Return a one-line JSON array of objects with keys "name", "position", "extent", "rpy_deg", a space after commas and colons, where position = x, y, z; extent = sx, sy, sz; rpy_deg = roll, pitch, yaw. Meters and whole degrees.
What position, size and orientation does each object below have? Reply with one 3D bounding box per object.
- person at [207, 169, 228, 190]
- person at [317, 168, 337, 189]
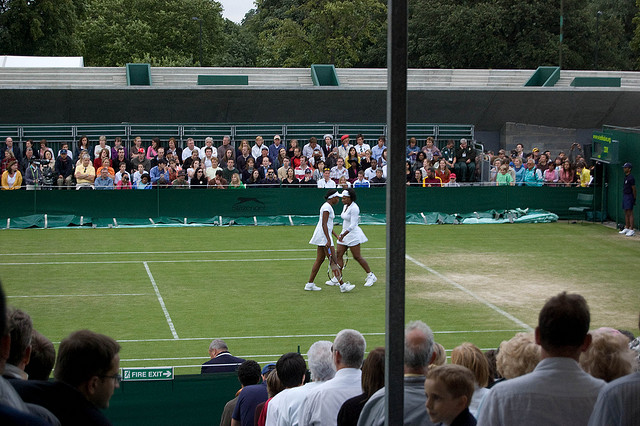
[{"name": "person", "position": [-4.383, -1.430, 46.560], "extent": [0.965, 1.250, 0.741], "rpy_deg": [0, -9, -5]}, {"name": "person", "position": [0.219, -1.545, 46.813], "extent": [1.065, 1.013, 0.517], "rpy_deg": [0, 1, 0]}]
